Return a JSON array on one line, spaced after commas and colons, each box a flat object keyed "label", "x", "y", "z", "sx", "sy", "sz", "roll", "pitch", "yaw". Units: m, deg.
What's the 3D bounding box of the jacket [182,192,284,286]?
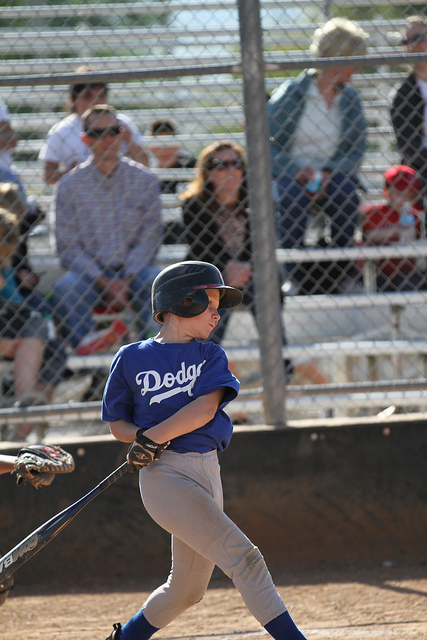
[{"label": "jacket", "x": 0.048, "y": -0.375, "z": 5.219, "sx": 0.507, "sy": 0.424, "sz": 0.182, "roll": -5, "pitch": -7, "yaw": -17}]

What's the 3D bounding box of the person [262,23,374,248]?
[{"label": "person", "x": 0.533, "y": -0.779, "z": 5.479, "sx": 0.503, "sy": 1.198, "sz": 0.892, "roll": -3, "pitch": 28, "yaw": 12}]

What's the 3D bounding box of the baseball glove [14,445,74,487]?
[{"label": "baseball glove", "x": -0.618, "y": 0.498, "z": 4.132, "sx": 0.251, "sy": 0.119, "sz": 0.263, "roll": 1, "pitch": 12, "yaw": -7}]

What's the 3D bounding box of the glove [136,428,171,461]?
[{"label": "glove", "x": -0.203, "y": 0.437, "z": 4.009, "sx": 0.053, "sy": 0.097, "sz": 0.119, "roll": -6, "pitch": 48, "yaw": 26}]
